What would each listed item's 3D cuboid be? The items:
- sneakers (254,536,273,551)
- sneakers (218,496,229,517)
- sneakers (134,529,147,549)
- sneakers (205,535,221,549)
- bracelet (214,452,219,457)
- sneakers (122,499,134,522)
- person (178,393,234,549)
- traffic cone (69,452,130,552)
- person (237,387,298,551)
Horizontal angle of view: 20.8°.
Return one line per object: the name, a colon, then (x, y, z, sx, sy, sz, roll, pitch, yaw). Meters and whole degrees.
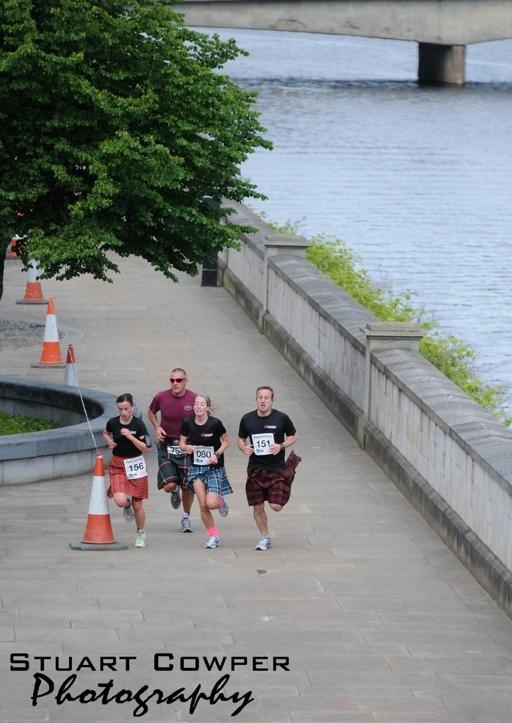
sneakers: (0.084, 1.587, 12.172, 0.071, 0.076, 0.188, 1, -2, 15)
sneakers: (-0.280, 1.292, 12.467, 0.084, 0.261, 0.106, -8, 43, -1)
sneakers: (-0.983, 1.524, 12.114, 0.097, 0.157, 0.281, 2, 9, -5)
sneakers: (-0.360, 1.565, 12.185, 0.122, 0.128, 0.310, 3, 9, -1)
bracelet: (-0.325, 0.820, 12.263, 0.041, 0.034, 0.039, -5, -10, -5)
sneakers: (-1.104, 1.317, 12.443, 0.105, 0.260, 0.114, -3, 10, -5)
person: (-0.429, 0.959, 12.299, 0.475, 1.352, 0.733, 3, 10, -3)
traffic cone: (-1.306, 1.186, 12.019, 0.485, 0.858, 0.542, 2, 10, -5)
person: (0.113, 0.998, 12.266, 0.534, 1.303, 0.646, 3, 10, -1)
